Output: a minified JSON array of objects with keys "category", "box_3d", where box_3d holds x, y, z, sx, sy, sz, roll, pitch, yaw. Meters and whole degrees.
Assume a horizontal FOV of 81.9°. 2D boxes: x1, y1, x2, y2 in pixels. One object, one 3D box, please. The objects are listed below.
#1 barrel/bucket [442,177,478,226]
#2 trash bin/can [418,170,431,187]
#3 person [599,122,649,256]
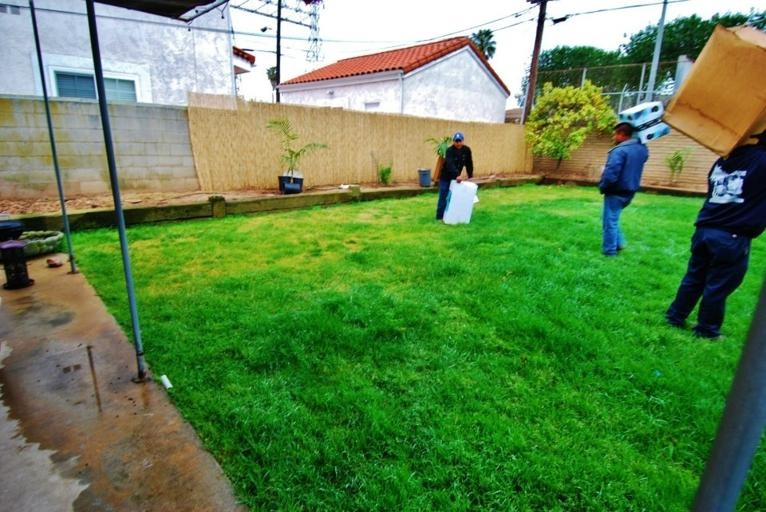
[{"category":"barrel/bucket","box_3d":[1.396,-0.968,8.003,0.563,0.769,0.340,2,16,6]},{"category":"trash bin/can","box_3d":[1.181,-2.187,12.348,0.322,0.447,0.383,3,16,8]},{"category":"person","box_3d":[3.461,-0.964,6.482,0.434,1.875,0.541,15,22,41]}]
